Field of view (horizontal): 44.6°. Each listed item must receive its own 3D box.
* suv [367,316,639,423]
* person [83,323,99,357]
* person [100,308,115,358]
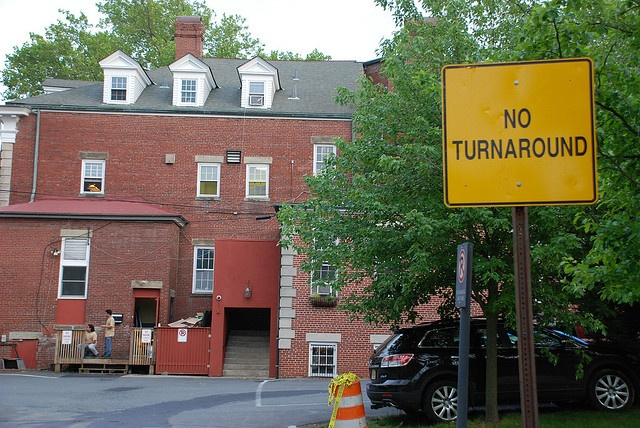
[{"bbox_3d":[4.874,4.397,21.940,7.018,2.265,3.006,-2,-10,-7],"label":"suv"},{"bbox_3d":[-9.144,5.093,31.236,0.568,1.301,0.935,3,-10,-16],"label":"person"},{"bbox_3d":[-8.587,4.851,31.614,0.466,1.996,1.502,3,-10,-15],"label":"person"}]
